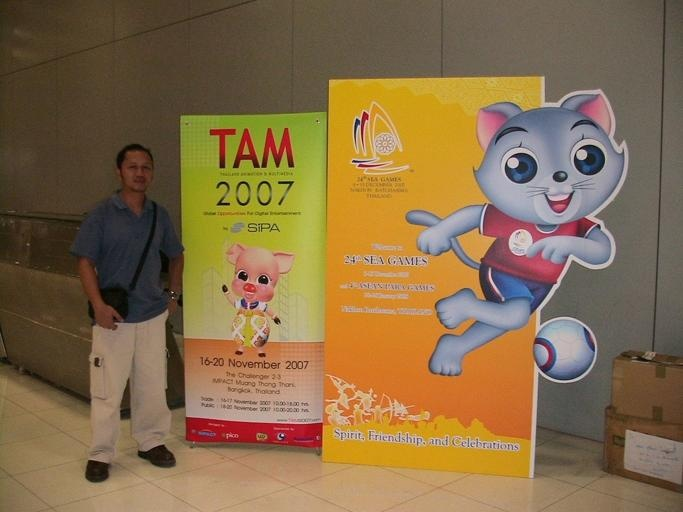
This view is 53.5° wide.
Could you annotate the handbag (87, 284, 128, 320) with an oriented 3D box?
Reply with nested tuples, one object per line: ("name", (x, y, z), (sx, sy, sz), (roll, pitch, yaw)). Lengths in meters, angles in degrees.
("handbag", (-1.508, 0.311, 4.456), (0.182, 0.200, 0.104), (0, 12, -2))

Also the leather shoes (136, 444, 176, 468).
("leather shoes", (-1.289, 1.384, 4.679), (0.281, 0.135, 0.117), (-1, -2, 39))

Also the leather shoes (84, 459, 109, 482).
("leather shoes", (-1.620, 1.419, 4.478), (0.152, 0.112, 0.162), (-4, 13, -21))

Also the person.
("person", (-1.402, 0.361, 4.541), (0.703, 2.153, 0.543), (-3, 12, -17))
